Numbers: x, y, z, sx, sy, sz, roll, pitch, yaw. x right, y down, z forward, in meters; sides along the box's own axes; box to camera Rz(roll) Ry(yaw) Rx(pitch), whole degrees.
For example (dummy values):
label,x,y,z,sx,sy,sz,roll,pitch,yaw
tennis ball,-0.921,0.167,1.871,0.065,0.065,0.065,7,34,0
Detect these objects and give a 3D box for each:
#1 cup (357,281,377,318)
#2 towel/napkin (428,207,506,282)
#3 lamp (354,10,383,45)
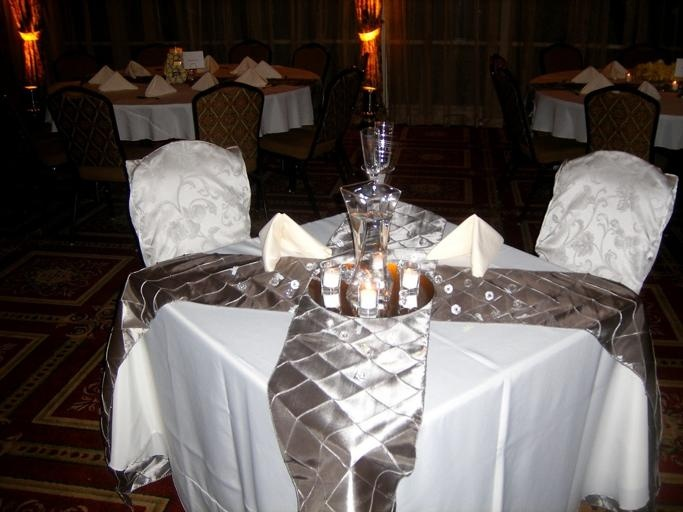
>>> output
label,x,y,z,sx,sy,sz,roll,pitch,yaw
cup,0.068,0.106,1.326,0.053,0.099,0.054,-2,20,1
towel/napkin,0.403,-0.033,1.588,0.214,0.113,0.184,-34,34,-23
lamp,0.336,-2.841,6.218,0.303,0.349,0.303,5,32,12
